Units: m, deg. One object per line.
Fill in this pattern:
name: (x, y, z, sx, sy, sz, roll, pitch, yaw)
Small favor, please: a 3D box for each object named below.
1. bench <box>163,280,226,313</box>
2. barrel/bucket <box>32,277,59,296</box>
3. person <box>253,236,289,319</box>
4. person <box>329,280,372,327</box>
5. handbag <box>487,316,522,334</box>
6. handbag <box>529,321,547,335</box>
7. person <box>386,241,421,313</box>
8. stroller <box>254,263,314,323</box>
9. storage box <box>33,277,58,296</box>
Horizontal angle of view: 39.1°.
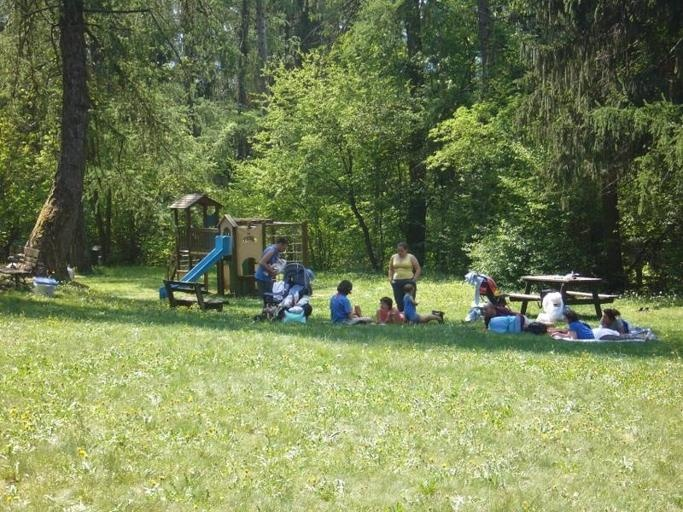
bench: (-4.094, 1.194, 27.185, 1.333, 1.127, 1.543, 0, 4, -32)
barrel/bucket: (-8.313, 0.880, 26.852, 0.472, 0.402, 0.537, 6, -9, -33)
person: (-1.872, 0.448, 25.511, 0.683, 2.331, 0.813, -3, 7, -34)
person: (0.144, 1.217, 24.861, 0.981, 1.343, 0.995, -8, 13, -32)
handbag: (4.003, 1.697, 23.583, 0.774, 0.510, 0.616, 1, 3, 3)
handbag: (4.769, 1.786, 23.491, 0.249, 0.303, 0.325, 5, -19, -40)
person: (1.643, 0.798, 25.740, 0.751, 2.228, 0.530, -3, -9, 18)
stroller: (-1.372, 0.986, 25.002, 1.077, 1.714, 1.248, -1, 5, -30)
storage box: (-8.239, 0.863, 26.738, 0.591, 0.539, 0.891, 4, -4, -21)
